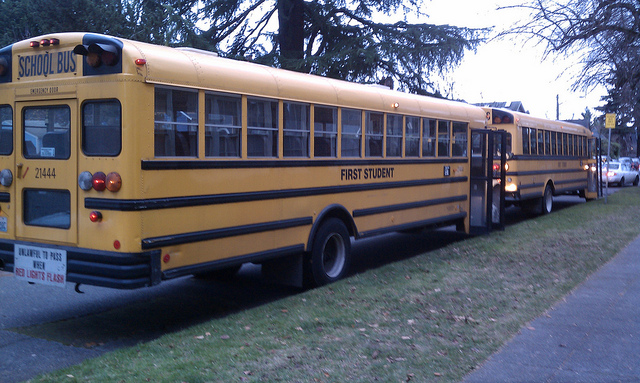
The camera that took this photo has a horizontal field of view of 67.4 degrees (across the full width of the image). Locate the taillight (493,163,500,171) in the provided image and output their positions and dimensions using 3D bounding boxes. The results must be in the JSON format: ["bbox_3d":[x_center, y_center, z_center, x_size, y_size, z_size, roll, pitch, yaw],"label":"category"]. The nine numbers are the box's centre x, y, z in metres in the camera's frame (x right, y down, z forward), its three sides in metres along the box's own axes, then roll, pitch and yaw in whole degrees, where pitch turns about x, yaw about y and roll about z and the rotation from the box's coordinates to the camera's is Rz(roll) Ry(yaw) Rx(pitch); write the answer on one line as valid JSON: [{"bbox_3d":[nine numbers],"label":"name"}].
[{"bbox_3d":[5.272,-0.755,14.435,0.228,0.283,0.236,1,21,27],"label":"taillight"}]

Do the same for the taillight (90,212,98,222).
[{"bbox_3d":[-3.163,0.351,6.755,0.115,0.119,0.109,2,7,-4],"label":"taillight"}]

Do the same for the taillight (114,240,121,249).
[{"bbox_3d":[-2.781,0.729,6.640,0.097,0.100,0.026,9,7,14],"label":"taillight"}]

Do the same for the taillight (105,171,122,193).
[{"bbox_3d":[-2.853,-0.132,6.664,0.289,0.281,0.095,3,10,24],"label":"taillight"}]

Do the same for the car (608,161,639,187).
[{"bbox_3d":[20.878,-1.149,33.567,3.885,1.302,1.700,-7,8,-43],"label":"car"}]

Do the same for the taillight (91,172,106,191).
[{"bbox_3d":[-3.076,-0.143,6.759,0.240,0.268,0.081,3,10,25],"label":"taillight"}]
